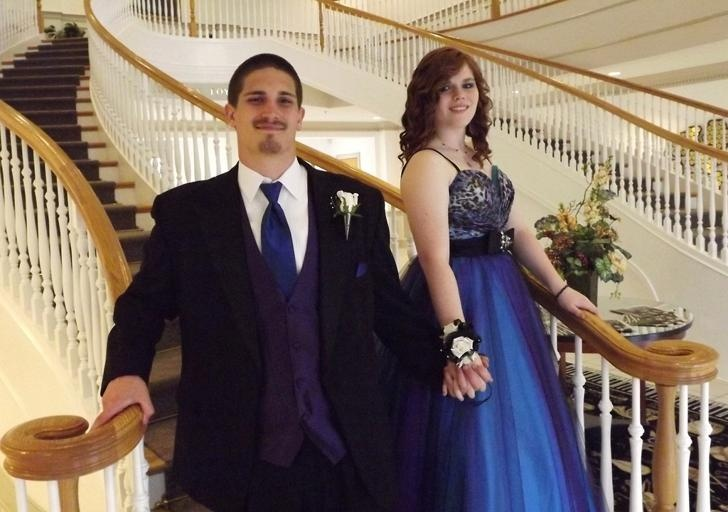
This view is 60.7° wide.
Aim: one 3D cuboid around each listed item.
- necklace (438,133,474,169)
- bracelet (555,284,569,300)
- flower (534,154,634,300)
[{"bbox_3d":[0.405,-0.464,2.792,0.170,0.159,0.077,-4,0,-44],"label":"necklace"},{"bbox_3d":[0.898,0.159,2.800,0.017,0.055,0.057,42,0,1],"label":"bracelet"},{"bbox_3d":[1.494,-0.106,4.079,0.594,0.847,0.532,-23,26,-25],"label":"flower"}]
